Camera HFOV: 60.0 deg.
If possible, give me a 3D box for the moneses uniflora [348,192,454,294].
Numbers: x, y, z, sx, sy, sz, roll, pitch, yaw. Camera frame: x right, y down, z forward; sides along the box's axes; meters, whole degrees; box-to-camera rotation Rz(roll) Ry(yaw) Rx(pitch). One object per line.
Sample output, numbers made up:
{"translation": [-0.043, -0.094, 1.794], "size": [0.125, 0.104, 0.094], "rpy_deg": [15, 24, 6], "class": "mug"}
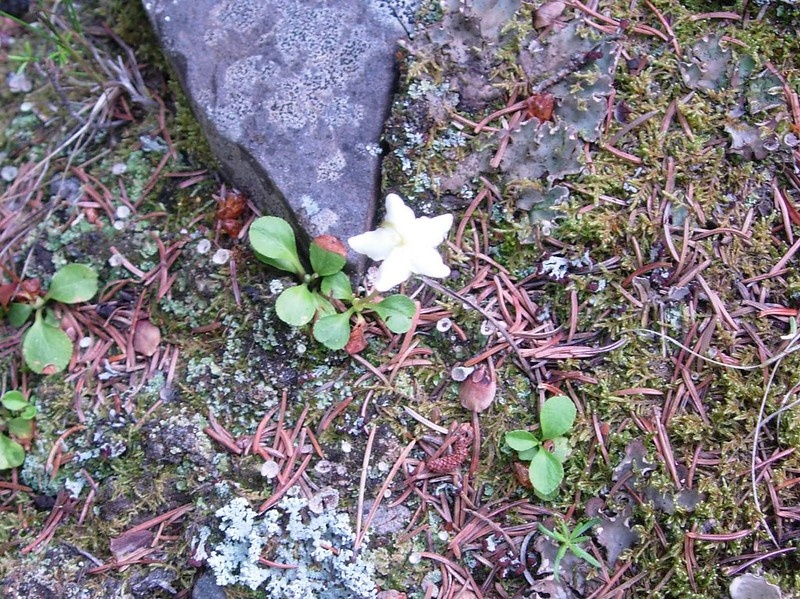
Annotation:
{"translation": [-0.008, -0.280, 3.407], "size": [0.492, 0.139, 0.458], "rpy_deg": [4, 75, 0], "class": "moneses uniflora"}
